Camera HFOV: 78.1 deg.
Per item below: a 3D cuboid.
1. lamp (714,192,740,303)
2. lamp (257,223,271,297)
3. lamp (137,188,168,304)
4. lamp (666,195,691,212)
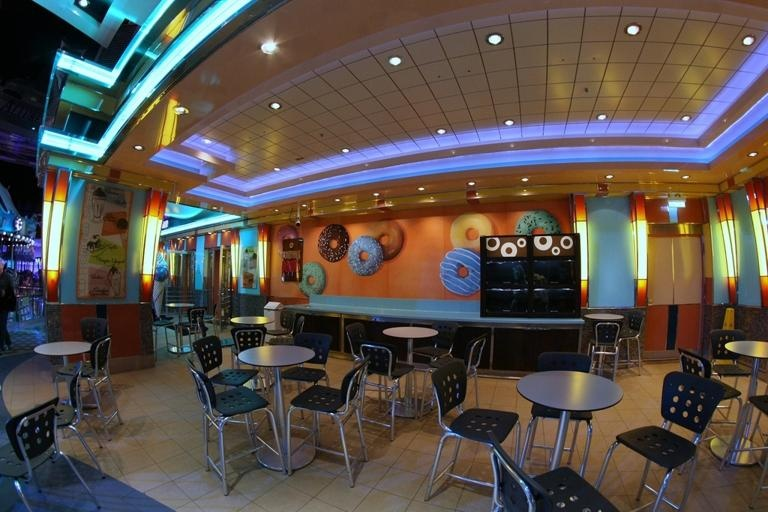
[{"bbox_3d":[6.526,-0.138,8.913,0.265,2.061,0.484,-5,-14,27],"label":"lamp"},{"bbox_3d":[-3.165,0.095,12.435,0.309,1.829,0.519,2,-12,-2],"label":"lamp"},{"bbox_3d":[-4.346,-0.195,8.763,0.351,2.035,0.511,8,-14,-26],"label":"lamp"},{"bbox_3d":[5.787,-1.028,9.324,0.412,0.266,0.231,-1,-2,29],"label":"lamp"}]
